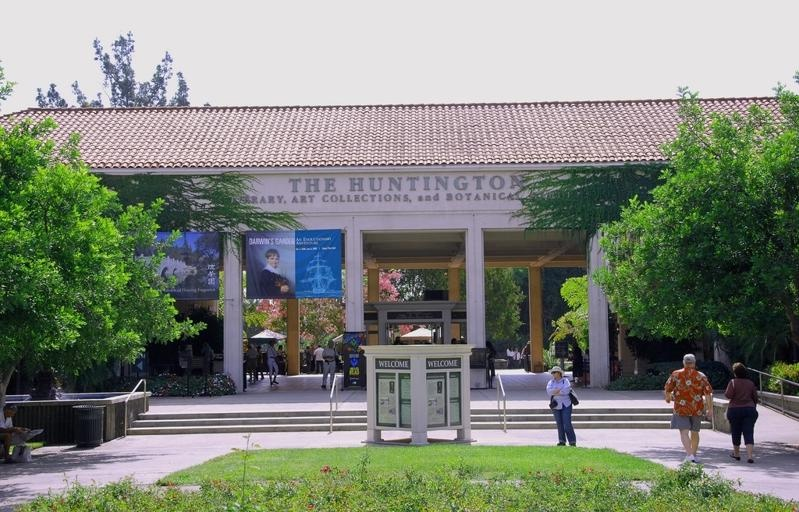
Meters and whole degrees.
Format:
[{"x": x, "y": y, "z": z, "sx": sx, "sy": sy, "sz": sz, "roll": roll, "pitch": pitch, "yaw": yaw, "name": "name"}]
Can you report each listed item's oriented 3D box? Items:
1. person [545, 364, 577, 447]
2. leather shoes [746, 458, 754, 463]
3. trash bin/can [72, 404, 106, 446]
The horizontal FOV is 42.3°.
[{"x": 4.488, "y": 4.119, "z": 28.358, "sx": 0.714, "sy": 2.170, "sz": 1.603, "roll": -3, "pitch": -8, "yaw": 9, "name": "person"}, {"x": 8.755, "y": 5.121, "z": 25.813, "sx": 0.073, "sy": 0.086, "sz": 0.231, "roll": -2, "pitch": -13, "yaw": 6, "name": "leather shoes"}, {"x": -9.181, "y": 4.991, "z": 30.260, "sx": 0.979, "sy": 1.140, "sz": 1.046, "roll": 1, "pitch": -7, "yaw": -11, "name": "trash bin/can"}]
